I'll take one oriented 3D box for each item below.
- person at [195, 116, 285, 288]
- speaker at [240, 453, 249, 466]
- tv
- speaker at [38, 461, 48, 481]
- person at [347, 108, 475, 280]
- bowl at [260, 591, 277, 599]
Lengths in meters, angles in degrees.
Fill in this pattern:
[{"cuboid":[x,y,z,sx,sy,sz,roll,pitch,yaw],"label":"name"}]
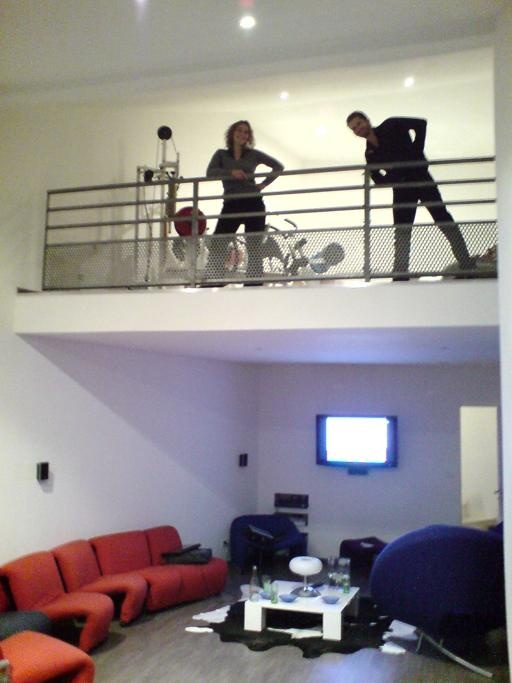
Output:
[{"cuboid":[-0.087,-1.136,5.143,0.575,1.405,0.392,2,-14,-8],"label":"person"},{"cuboid":[-0.181,1.661,8.740,0.103,0.208,0.196,-1,-3,21],"label":"speaker"},{"cuboid":[1.410,1.402,8.491,0.749,0.600,0.108,1,-2,21],"label":"tv"},{"cuboid":[-1.868,1.150,5.472,0.043,0.171,0.134,-1,-7,20],"label":"speaker"},{"cuboid":[1.138,-1.107,4.627,0.875,1.422,0.535,-3,-7,31],"label":"person"},{"cuboid":[0.112,2.294,5.612,0.050,0.032,0.093,-19,0,-31],"label":"bowl"}]
